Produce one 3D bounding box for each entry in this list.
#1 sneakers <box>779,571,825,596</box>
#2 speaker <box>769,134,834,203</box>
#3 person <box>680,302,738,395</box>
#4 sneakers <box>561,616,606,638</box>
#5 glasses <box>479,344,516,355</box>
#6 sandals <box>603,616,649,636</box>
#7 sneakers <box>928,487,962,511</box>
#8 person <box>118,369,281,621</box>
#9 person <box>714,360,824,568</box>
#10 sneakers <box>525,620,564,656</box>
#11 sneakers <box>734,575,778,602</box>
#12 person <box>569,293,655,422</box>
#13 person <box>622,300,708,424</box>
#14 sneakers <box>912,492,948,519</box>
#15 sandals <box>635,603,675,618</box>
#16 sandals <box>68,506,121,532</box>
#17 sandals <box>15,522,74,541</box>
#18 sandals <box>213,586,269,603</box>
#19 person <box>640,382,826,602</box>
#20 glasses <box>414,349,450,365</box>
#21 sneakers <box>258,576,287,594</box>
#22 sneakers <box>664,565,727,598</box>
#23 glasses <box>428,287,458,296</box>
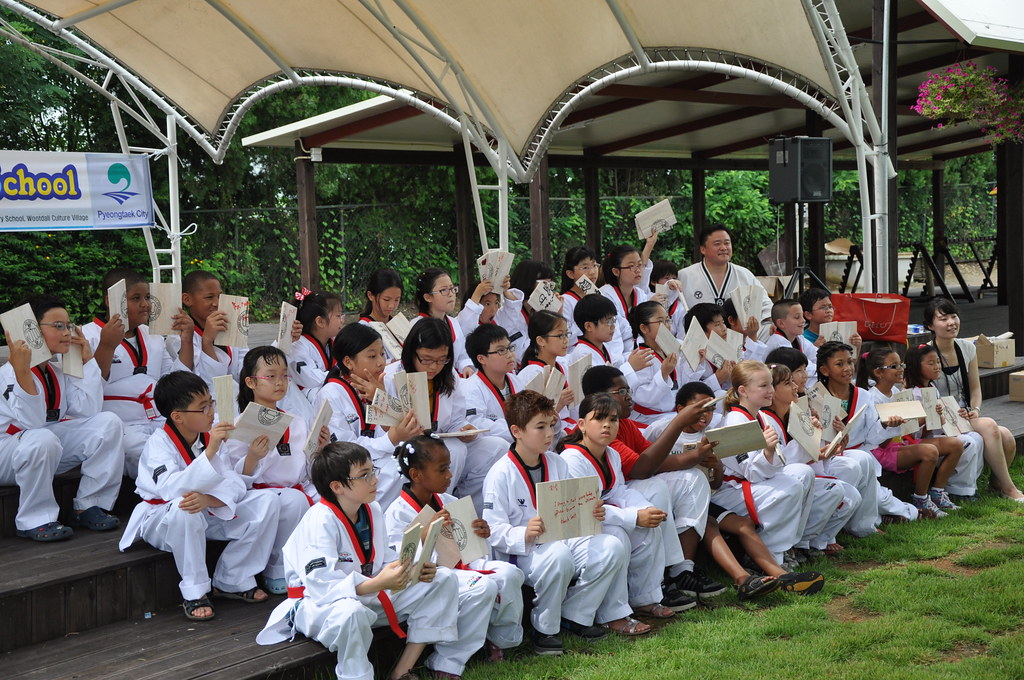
[{"bbox_3d":[2.039,1.686,6.274,0.322,0.128,0.139,1,-6,-5],"label":"sneakers"},{"bbox_3d":[3.092,-1.824,9.982,0.732,0.946,0.660,-3,5,-33],"label":"speaker"},{"bbox_3d":[1.701,-0.094,8.079,0.342,0.386,1.005,13,3,-8],"label":"person"},{"bbox_3d":[0.479,1.874,5.910,0.323,0.139,0.115,1,3,12],"label":"sneakers"},{"bbox_3d":[-0.087,0.064,6.643,0.222,0.087,0.081,-3,3,-18],"label":"glasses"},{"bbox_3d":[0.767,1.862,5.869,0.221,0.095,0.126,-3,-3,3],"label":"sandals"},{"bbox_3d":[3.677,1.348,7.679,0.306,0.138,0.121,2,5,8],"label":"sneakers"},{"bbox_3d":[-2.029,0.966,5.874,0.901,1.537,0.511,-2,2,17],"label":"person"},{"bbox_3d":[2.060,0.961,7.142,0.610,1.483,0.806,-26,-5,5],"label":"person"},{"bbox_3d":[0.205,1.921,5.788,0.104,0.203,0.279,4,-7,-42],"label":"sneakers"},{"bbox_3d":[1.683,1.688,6.228,0.318,0.153,0.130,-29,-20,21],"label":"sneakers"},{"bbox_3d":[0.714,0.001,7.278,0.777,1.190,0.604,1,15,18],"label":"person"},{"bbox_3d":[1.253,0.202,7.327,0.493,1.206,0.474,11,33,40],"label":"person"},{"bbox_3d":[3.523,1.393,7.606,0.306,0.201,0.108,1,7,5],"label":"sneakers"},{"bbox_3d":[0.979,1.823,6.125,0.237,0.107,0.108,-2,0,9],"label":"sandals"},{"bbox_3d":[-2.873,1.210,6.206,0.273,0.119,0.160,-2,1,21],"label":"sandals"},{"bbox_3d":[-3.107,1.256,6.045,0.248,0.108,0.145,-4,-5,16],"label":"sandals"},{"bbox_3d":[-1.768,1.614,5.871,0.318,0.093,0.130,0,3,13],"label":"sandals"},{"bbox_3d":[1.477,1.026,6.398,0.598,1.452,1.437,0,-1,-9],"label":"person"},{"bbox_3d":[-0.542,0.105,6.345,0.230,0.104,0.100,-3,3,-19],"label":"glasses"},{"bbox_3d":[-1.565,1.608,5.976,0.144,0.055,0.091,2,2,43],"label":"sneakers"},{"bbox_3d":[1.285,1.681,6.308,0.451,0.191,0.172,3,4,0],"label":"sneakers"},{"bbox_3d":[-0.539,-0.409,7.470,0.217,0.068,0.092,-4,3,-33],"label":"glasses"}]
